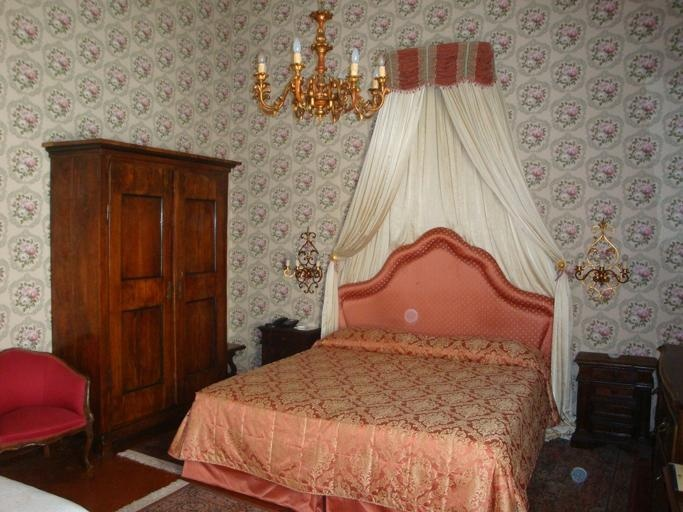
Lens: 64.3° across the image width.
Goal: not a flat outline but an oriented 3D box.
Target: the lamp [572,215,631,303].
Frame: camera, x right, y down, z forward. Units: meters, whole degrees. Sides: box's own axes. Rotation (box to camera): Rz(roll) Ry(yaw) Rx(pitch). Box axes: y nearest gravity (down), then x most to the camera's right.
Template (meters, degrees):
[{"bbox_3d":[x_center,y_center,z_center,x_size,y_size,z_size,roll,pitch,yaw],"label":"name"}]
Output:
[{"bbox_3d":[2.443,0.045,5.028,0.436,0.765,0.103,2,5,7],"label":"lamp"}]
